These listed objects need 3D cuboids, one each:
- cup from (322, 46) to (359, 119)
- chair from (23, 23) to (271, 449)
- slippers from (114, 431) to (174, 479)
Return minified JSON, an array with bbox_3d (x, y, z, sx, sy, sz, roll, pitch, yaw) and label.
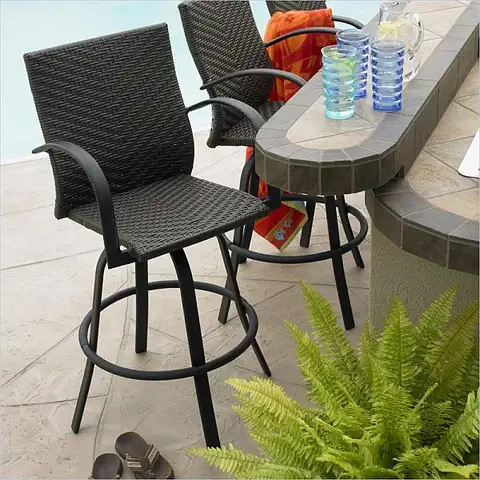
[{"bbox_3d":[0.281,-0.453,1.250,0.095,0.187,0.195,3,45,12],"label":"cup"},{"bbox_3d":[-0.256,0.004,1.486,0.861,1.218,0.753,0,29,-8],"label":"chair"},{"bbox_3d":[-0.289,0.653,1.327,0.083,0.046,0.188,-16,28,-33],"label":"slippers"}]
